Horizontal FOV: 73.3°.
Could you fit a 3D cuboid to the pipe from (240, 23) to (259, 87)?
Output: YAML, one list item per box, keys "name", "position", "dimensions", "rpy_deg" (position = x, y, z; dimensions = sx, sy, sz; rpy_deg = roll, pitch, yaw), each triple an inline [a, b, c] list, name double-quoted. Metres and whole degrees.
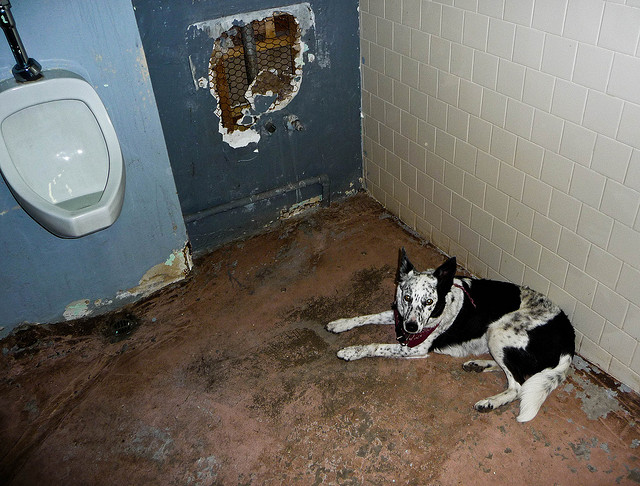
- name: "pipe"
  position: [-0.576, -1.522, 3.498]
  dimensions: [0.106, 0.434, 0.097]
  rpy_deg: [-10, 35, -7]

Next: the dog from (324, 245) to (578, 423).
- name: "dog"
  position: [0.983, 0.600, 2.988]
  dimensions: [1.349, 0.782, 1.027]
  rpy_deg: [9, 48, 19]

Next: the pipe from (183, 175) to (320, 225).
- name: "pipe"
  position: [-0.688, -0.401, 3.966]
  dimensions: [1.346, 0.107, 0.106]
  rpy_deg: [-17, 38, -25]
